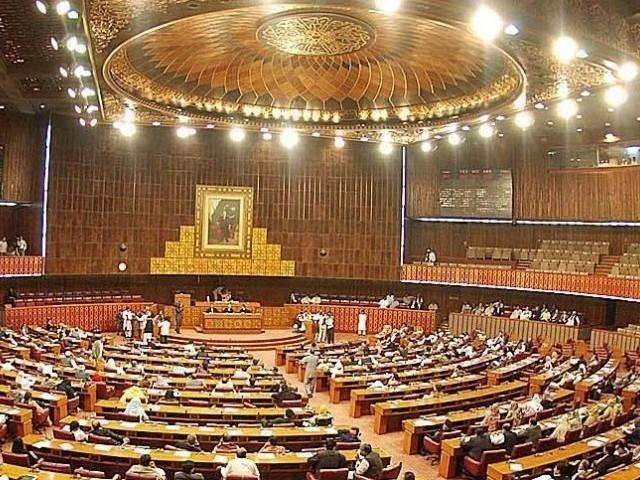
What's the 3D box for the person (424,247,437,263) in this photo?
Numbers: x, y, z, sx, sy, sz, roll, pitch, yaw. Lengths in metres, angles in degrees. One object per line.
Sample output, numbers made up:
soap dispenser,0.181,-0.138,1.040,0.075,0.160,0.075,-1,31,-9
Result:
person,7.269,1.030,32.534,0.856,1.118,0.790,-7,-14,45
